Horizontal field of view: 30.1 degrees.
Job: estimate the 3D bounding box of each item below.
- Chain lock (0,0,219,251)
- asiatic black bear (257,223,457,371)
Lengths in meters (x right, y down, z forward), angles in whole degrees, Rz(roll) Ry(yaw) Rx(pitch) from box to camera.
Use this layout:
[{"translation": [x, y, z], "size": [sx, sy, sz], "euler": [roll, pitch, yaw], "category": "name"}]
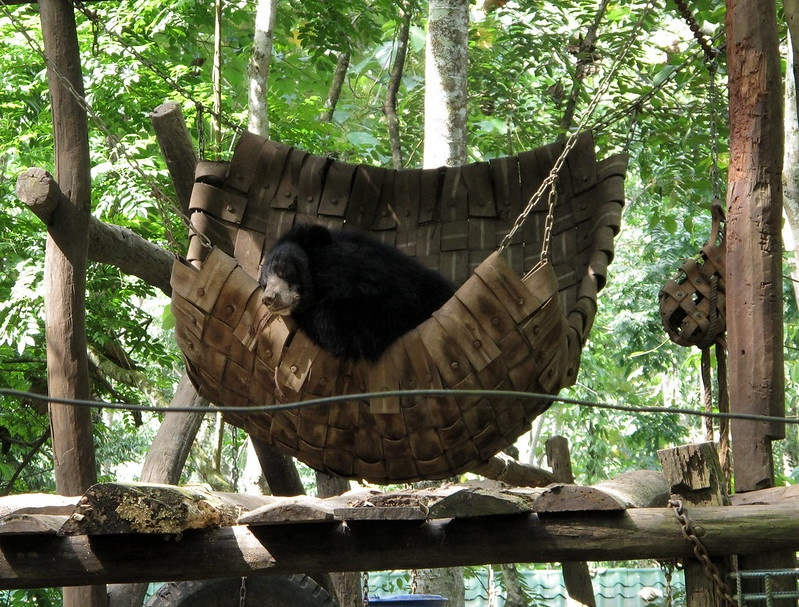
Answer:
[{"translation": [-2.564, -1.553, 13.064], "size": [0.293, 3.455, 0.160], "euler": [-41, -18, 4], "category": "Chain lock"}, {"translation": [-0.376, -0.100, 11.009], "size": [1.301, 1.150, 0.648], "euler": [-3, -10, -1], "category": "asiatic black bear"}]
